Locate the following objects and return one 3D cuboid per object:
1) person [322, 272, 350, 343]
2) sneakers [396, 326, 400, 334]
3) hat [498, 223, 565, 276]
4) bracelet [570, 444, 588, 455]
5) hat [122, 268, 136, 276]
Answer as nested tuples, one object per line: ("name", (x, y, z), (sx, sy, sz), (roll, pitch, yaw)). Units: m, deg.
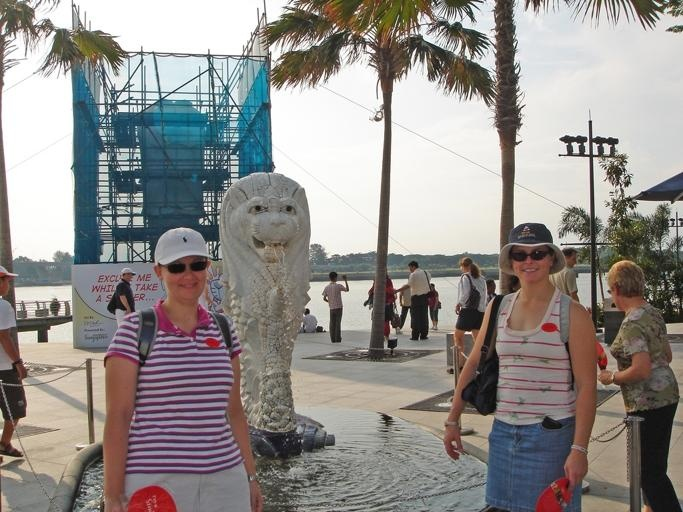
("person", (-0.188, 1.211, 19.028), (0.559, 1.711, 1.432), (0, 0, 0))
("sneakers", (1.508, 2.011, 21.532), (0.100, 0.129, 0.105), (-2, -4, 24))
("hat", (1.414, -0.093, 5.987), (0.428, 0.299, 0.568), (-8, -23, 23))
("bracelet", (1.637, 1.328, 5.473), (0.100, 0.071, 0.073), (0, 0, 21))
("hat", (-4.741, 0.325, 17.366), (0.291, 0.121, 0.212), (-1, 0, -14))
